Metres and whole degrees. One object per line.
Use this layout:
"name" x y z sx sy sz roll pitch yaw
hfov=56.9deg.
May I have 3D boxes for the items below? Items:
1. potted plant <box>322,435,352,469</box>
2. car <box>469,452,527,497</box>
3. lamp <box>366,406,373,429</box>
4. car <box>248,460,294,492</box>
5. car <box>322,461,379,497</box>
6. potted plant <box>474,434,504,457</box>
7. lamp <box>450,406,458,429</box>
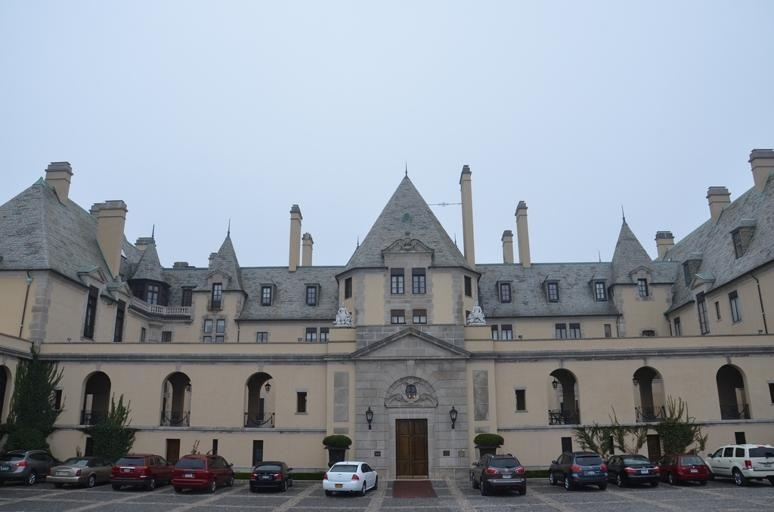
"potted plant" -3.802 14.333 52.949 2.172 2.201 2.123 3 -14 -4
"car" 7.348 14.210 46.526 2.559 2.532 3.093 2 -16 -10
"lamp" -1.344 12.128 53.691 0.638 1.724 0.512 1 -16 -6
"car" -7.841 14.714 47.644 2.619 1.908 1.777 3 -16 -15
"car" -2.392 14.519 46.709 2.139 2.064 3.716 -10 -18 29
"potted plant" 7.463 13.652 52.620 1.807 1.690 1.941 2 -25 2
"lamp" 5.012 12.107 53.583 0.592 1.604 0.576 -2 -16 4
